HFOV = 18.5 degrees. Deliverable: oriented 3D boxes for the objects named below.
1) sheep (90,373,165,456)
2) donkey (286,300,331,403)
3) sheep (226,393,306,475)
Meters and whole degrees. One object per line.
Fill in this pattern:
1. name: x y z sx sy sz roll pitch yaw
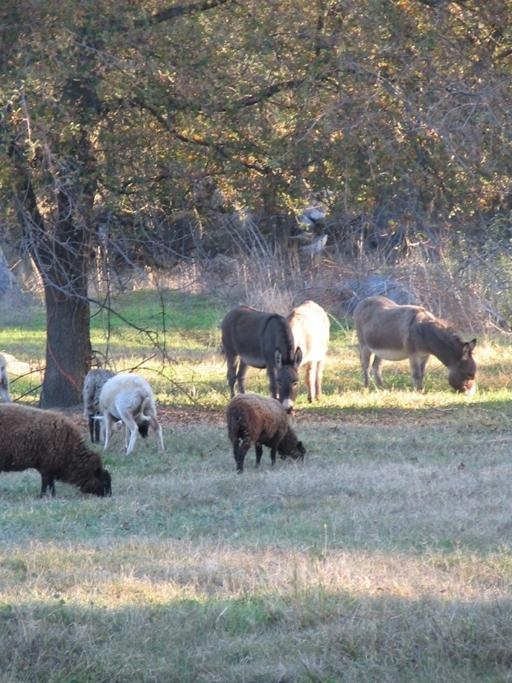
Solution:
1. sheep: -1.630 0.861 20.993 0.783 1.149 0.814 -7 11 -37
2. donkey: 0.916 0.196 25.888 0.685 1.666 0.721 0 7 -9
3. sheep: 0.080 1.054 19.613 0.469 1.073 1.726 0 -8 24
